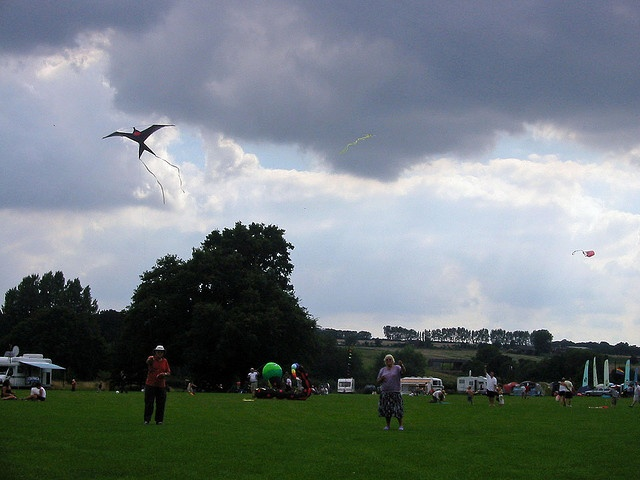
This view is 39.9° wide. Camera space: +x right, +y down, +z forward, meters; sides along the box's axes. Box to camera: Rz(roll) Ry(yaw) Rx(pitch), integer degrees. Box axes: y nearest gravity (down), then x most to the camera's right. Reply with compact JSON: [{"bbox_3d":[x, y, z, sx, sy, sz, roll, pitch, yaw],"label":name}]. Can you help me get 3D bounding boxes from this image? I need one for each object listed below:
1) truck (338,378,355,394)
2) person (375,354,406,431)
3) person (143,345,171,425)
[{"bbox_3d":[2.946,16.552,99.811,2.759,1.932,2.028,4,-6,-11],"label":"truck"},{"bbox_3d":[2.661,5.584,31.979,1.259,2.544,0.835,-8,-10,36],"label":"person"},{"bbox_3d":[-6.064,5.378,32.432,0.868,2.807,1.231,2,-6,-16],"label":"person"}]
